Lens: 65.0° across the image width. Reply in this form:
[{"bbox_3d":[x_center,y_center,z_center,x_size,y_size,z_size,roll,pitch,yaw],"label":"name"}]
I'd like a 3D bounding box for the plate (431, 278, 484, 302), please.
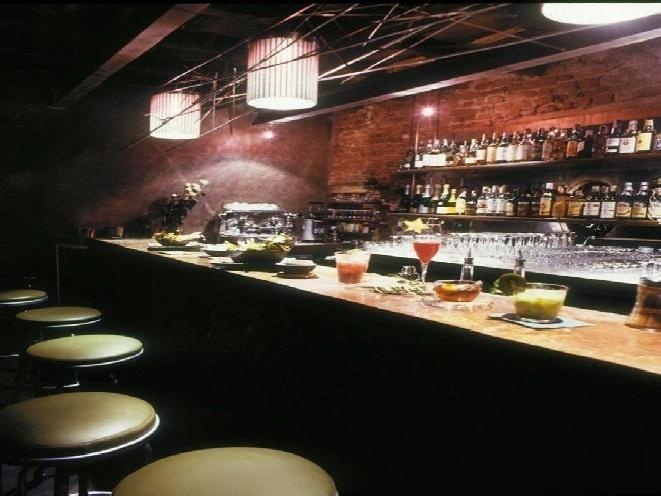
[{"bbox_3d":[0.469,0.165,2.004,0.188,0.080,0.142,4,4,27],"label":"plate"}]

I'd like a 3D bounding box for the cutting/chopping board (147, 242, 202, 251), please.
[{"bbox_3d":[-1.186,-0.012,3.956,0.388,0.045,0.345,1,3,-11],"label":"cutting/chopping board"}]

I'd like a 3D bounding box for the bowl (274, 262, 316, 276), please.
[{"bbox_3d":[-0.184,0.102,2.706,0.187,0.069,0.216,2,3,-4],"label":"bowl"}]

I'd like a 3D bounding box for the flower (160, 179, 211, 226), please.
[{"bbox_3d":[-1.651,-0.494,5.791,0.429,0.590,0.571,3,4,-15],"label":"flower"}]

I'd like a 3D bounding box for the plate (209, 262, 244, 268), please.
[{"bbox_3d":[-0.558,0.095,2.813,0.126,0.027,0.227,-1,4,-40],"label":"plate"}]

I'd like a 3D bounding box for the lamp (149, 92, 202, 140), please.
[{"bbox_3d":[-1.470,-1.186,4.635,0.633,0.283,0.446,4,17,2],"label":"lamp"}]
